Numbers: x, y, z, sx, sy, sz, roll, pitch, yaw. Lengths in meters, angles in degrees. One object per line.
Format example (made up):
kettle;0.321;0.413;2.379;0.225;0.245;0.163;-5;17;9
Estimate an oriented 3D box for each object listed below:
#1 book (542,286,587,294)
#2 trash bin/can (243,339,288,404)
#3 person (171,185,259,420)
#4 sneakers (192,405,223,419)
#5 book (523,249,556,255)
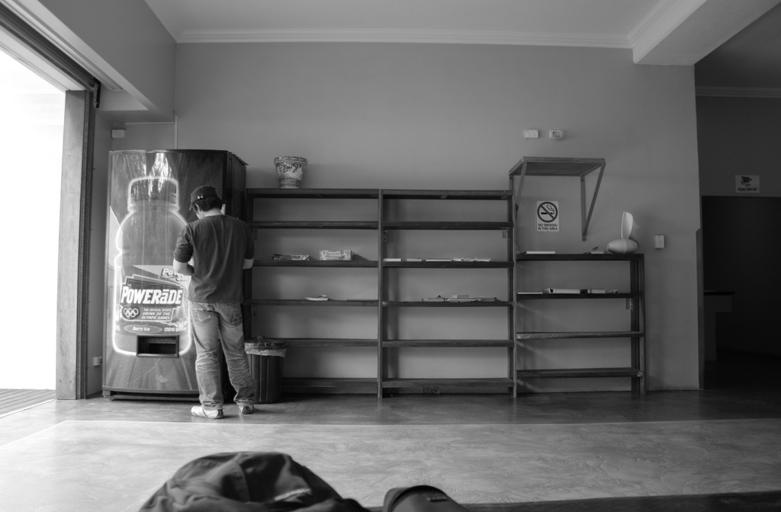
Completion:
book;2.082;0.411;7.624;0.508;0.054;0.264;1;10;2
trash bin/can;-1.420;1.318;7.425;0.752;0.694;0.607;0;-6;-11
person;-1.855;0.621;6.786;0.820;2.068;0.674;-3;10;-16
sneakers;-1.926;1.638;6.717;0.335;0.130;0.126;3;-3;13
book;1.811;-0.053;7.698;0.354;0.029;0.417;2;10;13
